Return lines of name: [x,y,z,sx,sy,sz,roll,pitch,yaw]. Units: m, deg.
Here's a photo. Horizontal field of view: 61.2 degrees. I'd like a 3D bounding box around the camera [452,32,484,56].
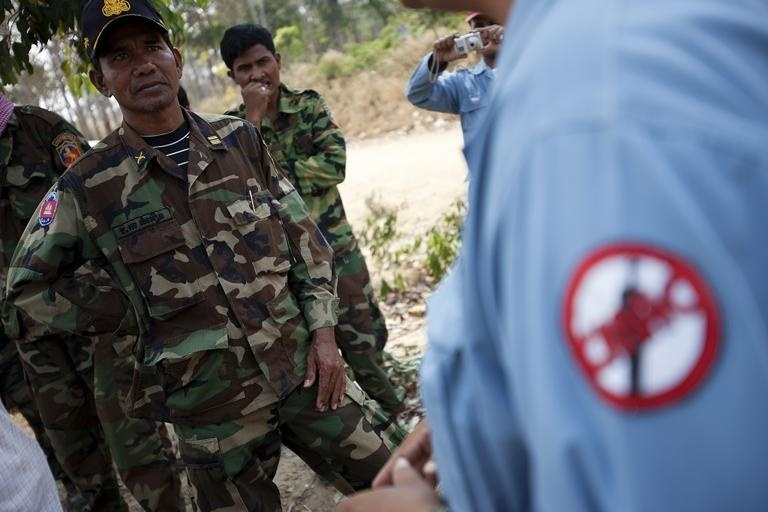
camera: [0.452,-1.141,3.464,0.060,0.104,0.138,-22,11,-36]
